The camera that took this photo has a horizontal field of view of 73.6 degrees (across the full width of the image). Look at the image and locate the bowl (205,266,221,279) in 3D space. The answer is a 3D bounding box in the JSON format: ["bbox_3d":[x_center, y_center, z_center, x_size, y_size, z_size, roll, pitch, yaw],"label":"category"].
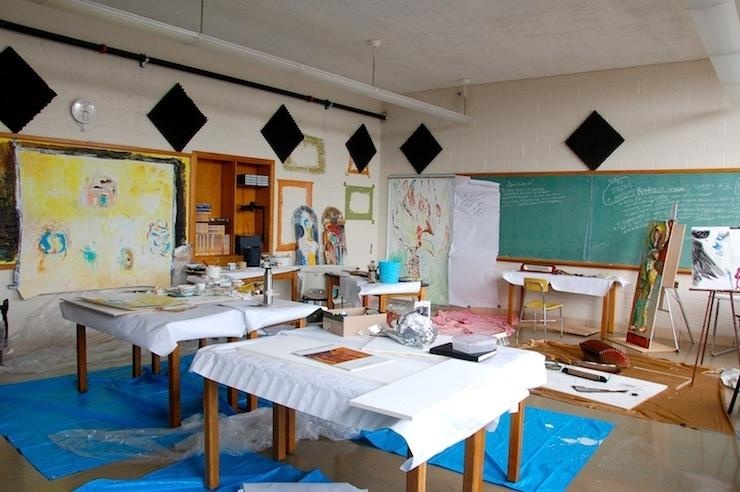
[{"bbox_3d":[-2.071,0.340,6.549,0.145,0.189,0.214,2,1,12],"label":"bowl"}]

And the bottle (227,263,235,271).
[{"bbox_3d":[-2.087,0.316,7.457,0.128,0.118,0.126,0,0,-5],"label":"bottle"}]

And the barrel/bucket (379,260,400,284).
[{"bbox_3d":[0.264,0.349,6.635,0.254,0.220,0.308,0,-1,0],"label":"barrel/bucket"}]

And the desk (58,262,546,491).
[{"bbox_3d":[0.310,0.717,3.925,1.766,0.894,1.823,3,3,34],"label":"desk"}]

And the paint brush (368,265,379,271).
[{"bbox_3d":[0.054,0.303,6.769,0.101,0.047,0.136,0,1,8],"label":"paint brush"}]

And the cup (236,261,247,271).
[{"bbox_3d":[-1.952,0.304,7.576,0.114,0.108,0.144,-1,-2,6],"label":"cup"}]

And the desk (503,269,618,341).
[{"bbox_3d":[3.317,0.907,8.630,1.821,0.924,0.627,3,7,37],"label":"desk"}]
